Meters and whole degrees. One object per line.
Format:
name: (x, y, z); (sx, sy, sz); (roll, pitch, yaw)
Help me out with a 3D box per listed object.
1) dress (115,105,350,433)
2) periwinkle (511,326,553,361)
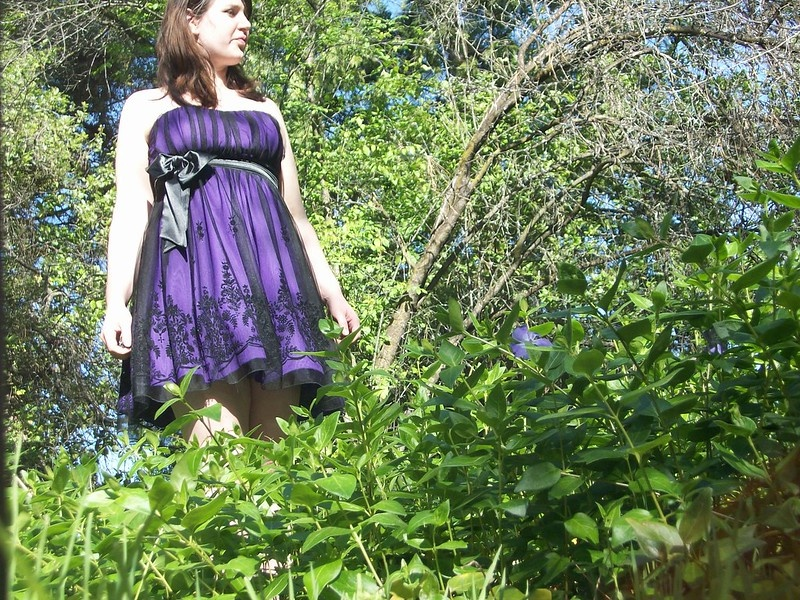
dress: (-0.491, -0.124, 2.107); (0.484, 0.870, 0.420); (-2, -24, -17)
periwinkle: (0.185, 0.060, 1.120); (0.065, 0.067, 0.017); (0, -1, -27)
